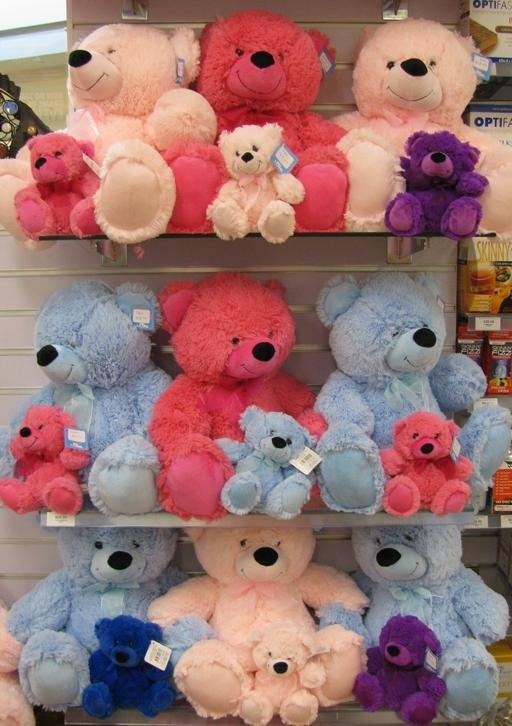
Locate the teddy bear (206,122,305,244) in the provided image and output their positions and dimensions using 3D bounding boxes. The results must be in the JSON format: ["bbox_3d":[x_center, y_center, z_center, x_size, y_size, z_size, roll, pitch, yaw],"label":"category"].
[{"bbox_3d":[-0.012,-0.332,1.252,0.148,0.216,0.134,-18,19,-41],"label":"teddy bear"}]

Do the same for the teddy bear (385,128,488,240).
[{"bbox_3d":[0.334,-0.330,1.249,0.197,0.196,0.151,-4,14,2],"label":"teddy bear"}]

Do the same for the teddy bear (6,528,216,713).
[{"bbox_3d":[-0.288,0.543,1.393,0.470,0.407,0.284,6,6,-12],"label":"teddy bear"}]

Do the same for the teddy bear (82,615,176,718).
[{"bbox_3d":[-0.256,0.611,1.355,0.176,0.182,0.114,-5,14,-2],"label":"teddy bear"}]

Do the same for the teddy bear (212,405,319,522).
[{"bbox_3d":[0.006,0.184,1.272,0.223,0.179,0.130,18,3,9],"label":"teddy bear"}]

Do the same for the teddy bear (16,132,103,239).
[{"bbox_3d":[-0.390,-0.344,1.308,0.167,0.197,0.083,-8,15,-11],"label":"teddy bear"}]
